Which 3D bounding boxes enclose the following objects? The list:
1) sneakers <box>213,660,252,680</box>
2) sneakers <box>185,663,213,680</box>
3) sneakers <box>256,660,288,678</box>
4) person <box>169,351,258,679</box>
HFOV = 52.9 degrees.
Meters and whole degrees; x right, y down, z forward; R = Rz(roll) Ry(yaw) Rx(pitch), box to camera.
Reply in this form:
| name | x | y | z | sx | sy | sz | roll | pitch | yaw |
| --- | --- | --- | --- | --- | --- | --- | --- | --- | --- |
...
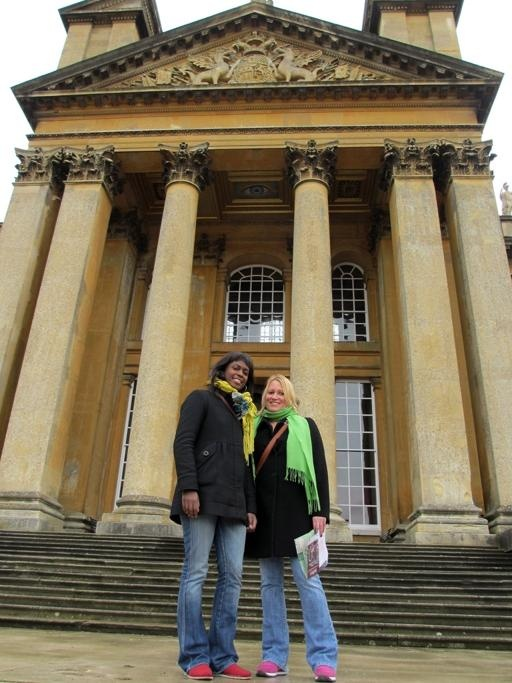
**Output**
| name | x | y | z | sx | sy | sz | roll | pitch | yaw |
| --- | --- | --- | --- | --- | --- | --- | --- | --- | --- |
| sneakers | -0.104 | 1.484 | 2.332 | 0.157 | 0.063 | 0.066 | -5 | -4 | 21 |
| sneakers | -0.234 | 1.381 | 2.156 | 0.104 | 0.054 | 0.135 | 7 | -29 | -8 |
| sneakers | 0.085 | 1.533 | 2.416 | 0.227 | 0.058 | 0.113 | 26 | -36 | -37 |
| person | -0.191 | 0.798 | 2.782 | 0.467 | 1.684 | 0.568 | -16 | -33 | 30 |
